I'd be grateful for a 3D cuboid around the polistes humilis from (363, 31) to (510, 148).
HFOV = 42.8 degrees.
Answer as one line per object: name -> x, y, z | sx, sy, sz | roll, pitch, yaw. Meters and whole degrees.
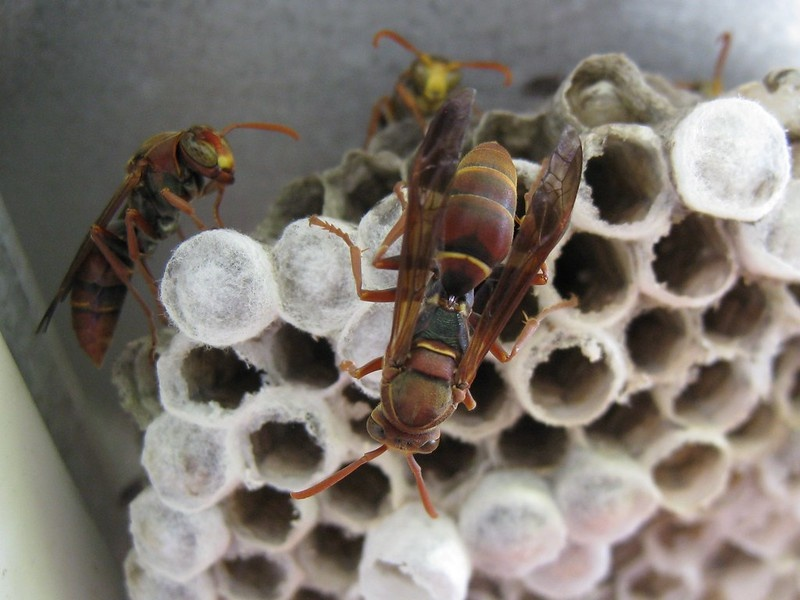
polistes humilis -> 0.049, -0.581, 2.764 | 0.376, 0.287, 0.186 | 11, 95, -7
